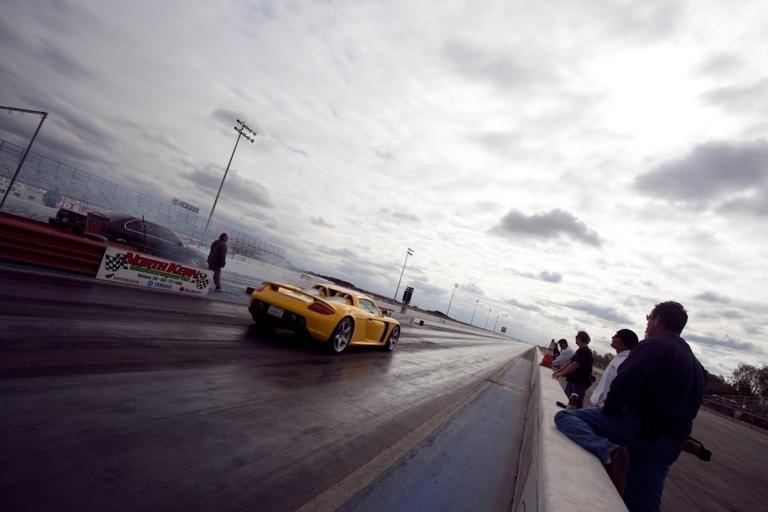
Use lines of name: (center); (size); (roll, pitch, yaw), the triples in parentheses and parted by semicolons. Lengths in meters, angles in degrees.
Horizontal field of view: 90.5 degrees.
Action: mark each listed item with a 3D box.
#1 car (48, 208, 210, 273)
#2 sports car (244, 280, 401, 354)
car: (-7.669, -0.569, 12.503); (1.942, 1.377, 4.540); (18, -8, 32)
sports car: (-0.956, 1.648, 9.052); (1.662, 0.997, 3.323); (10, -8, 30)
